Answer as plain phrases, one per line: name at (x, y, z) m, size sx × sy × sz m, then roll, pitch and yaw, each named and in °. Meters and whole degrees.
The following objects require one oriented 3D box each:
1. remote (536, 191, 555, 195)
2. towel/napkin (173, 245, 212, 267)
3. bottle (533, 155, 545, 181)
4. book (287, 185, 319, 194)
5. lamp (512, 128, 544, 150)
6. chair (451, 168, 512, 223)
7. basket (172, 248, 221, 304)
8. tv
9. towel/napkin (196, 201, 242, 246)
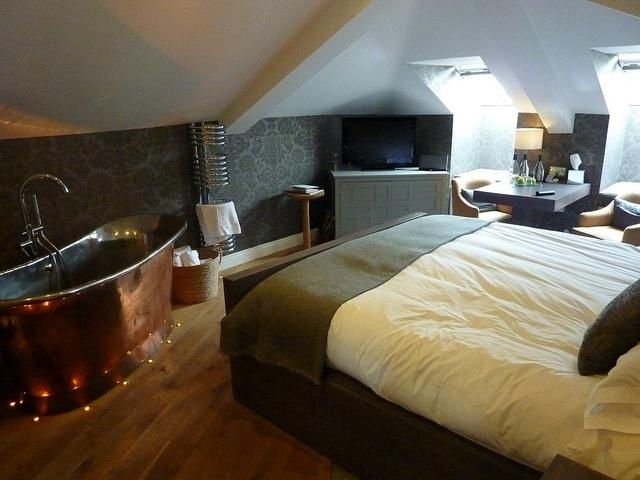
remote at (2.216, -0.462, 4.428) m, size 0.163 × 0.039 × 0.221 m, roll 4°, pitch 12°, yaw 26°
towel/napkin at (-1.166, 0.141, 4.103) m, size 0.292 × 0.175 × 0.327 m, roll 12°, pitch 10°, yaw -5°
bottle at (2.514, -0.823, 5.151) m, size 0.105 × 0.311 × 0.305 m, roll 4°, pitch 12°, yaw 26°
book at (-0.172, -0.559, 4.965) m, size 0.314 × 0.076 × 0.197 m, roll -1°, pitch 11°, yaw 2°
lamp at (2.306, -1.124, 4.972) m, size 0.250 × 0.187 × 0.261 m, roll 2°, pitch 26°, yaw 11°
chair at (1.776, -0.475, 4.957) m, size 0.451 × 0.617 × 0.497 m, roll -15°, pitch 37°, yaw -14°
basket at (-1.092, 0.321, 4.101) m, size 0.422 × 0.327 × 0.429 m, roll 3°, pitch 17°, yaw 15°
tv at (0.710, -1.224, 5.589) m, size 0.693 × 0.503 × 0.182 m, roll -1°, pitch 23°, yaw -4°
towel/napkin at (-0.944, -0.179, 4.382) m, size 0.392 × 0.379 × 0.416 m, roll -13°, pitch 13°, yaw 29°
